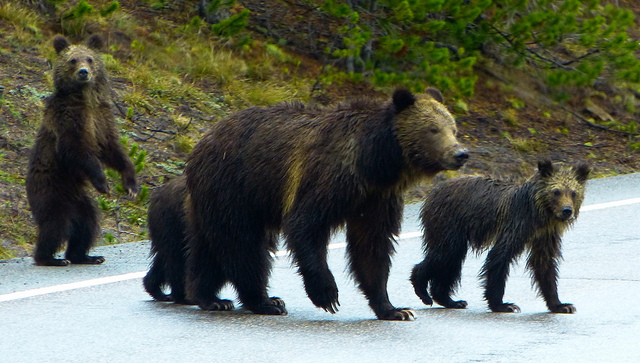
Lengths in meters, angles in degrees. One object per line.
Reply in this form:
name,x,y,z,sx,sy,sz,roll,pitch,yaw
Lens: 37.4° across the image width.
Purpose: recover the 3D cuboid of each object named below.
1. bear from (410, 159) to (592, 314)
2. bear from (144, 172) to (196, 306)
bear,2.812,0.883,14.229,2.877,1.931,1.094,-5,-10,44
bear,-2.238,0.824,13.828,0.736,1.879,0.947,1,3,-45
